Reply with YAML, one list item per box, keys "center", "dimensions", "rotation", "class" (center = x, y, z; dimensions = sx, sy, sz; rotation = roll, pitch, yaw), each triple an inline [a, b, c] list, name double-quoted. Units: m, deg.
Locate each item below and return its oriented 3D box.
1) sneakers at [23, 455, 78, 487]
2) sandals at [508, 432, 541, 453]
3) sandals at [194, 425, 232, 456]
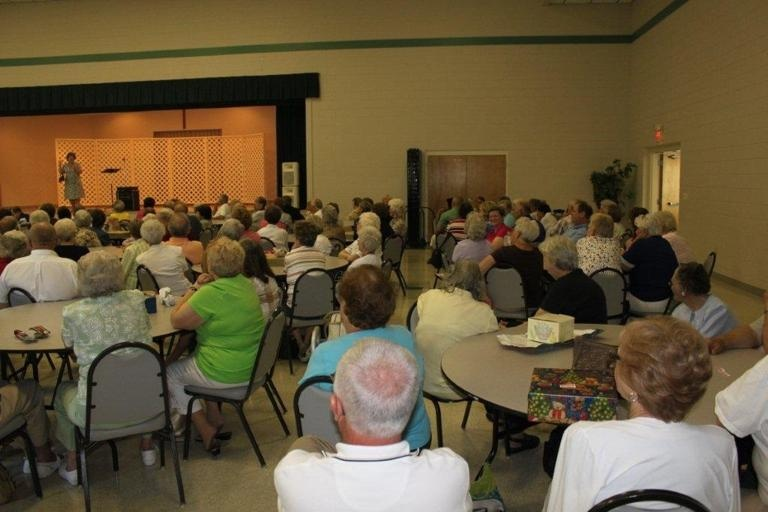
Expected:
- center: [-2.310, 1.534, 4.453]
  dimensions: [0.306, 0.140, 0.175]
  rotation: [9, 13, 42]
  class: "sneakers"
- center: [1.073, 1.427, 4.837]
  dimensions: [0.215, 0.058, 0.136]
  rotation: [-5, 14, -12]
  class: "sandals"
- center: [-1.309, 1.410, 4.925]
  dimensions: [0.133, 0.138, 0.344]
  rotation: [1, 12, -6]
  class: "sandals"
